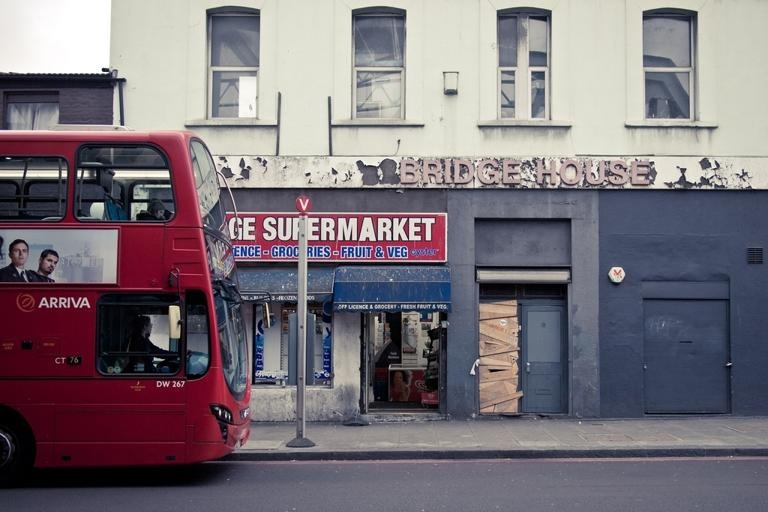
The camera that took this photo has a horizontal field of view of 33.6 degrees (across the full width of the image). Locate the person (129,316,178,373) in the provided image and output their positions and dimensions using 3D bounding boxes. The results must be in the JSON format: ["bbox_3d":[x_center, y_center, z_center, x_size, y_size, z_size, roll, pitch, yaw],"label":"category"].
[{"bbox_3d":[-4.810,1.831,26.175,1.015,1.213,0.759,0,5,-16],"label":"person"}]

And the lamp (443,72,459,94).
[{"bbox_3d":[1.620,-4.221,31.284,0.476,0.651,0.456,1,-10,-1],"label":"lamp"}]
